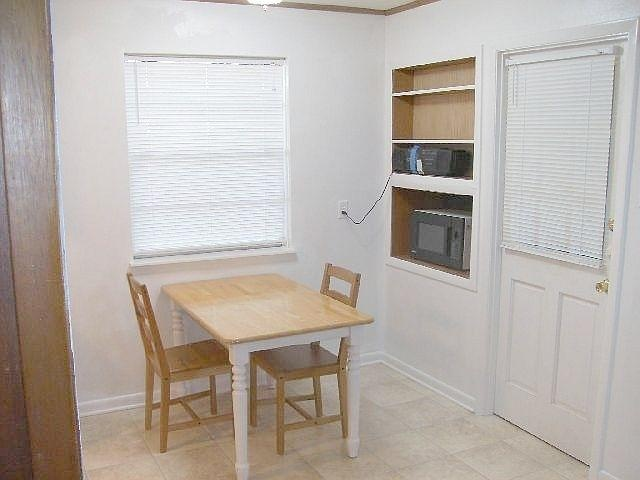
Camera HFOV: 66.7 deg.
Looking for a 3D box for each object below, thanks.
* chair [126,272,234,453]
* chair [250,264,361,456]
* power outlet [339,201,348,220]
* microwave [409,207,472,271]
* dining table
[{"bbox_3d":[-0.856,0.756,3.060,0.565,0.978,0.536,-3,5,-25],"label":"chair"},{"bbox_3d":[-0.103,0.703,3.068,0.585,1.046,0.531,0,3,-20],"label":"chair"},{"bbox_3d":[0.182,-0.248,3.930,0.083,0.142,0.018,-7,12,-32],"label":"power outlet"},{"bbox_3d":[0.879,-0.016,3.579,0.375,0.422,0.584,-5,10,-28],"label":"microwave"},{"bbox_3d":[-0.339,0.378,2.989,0.965,0.906,1.505,-4,10,-25],"label":"dining table"}]
